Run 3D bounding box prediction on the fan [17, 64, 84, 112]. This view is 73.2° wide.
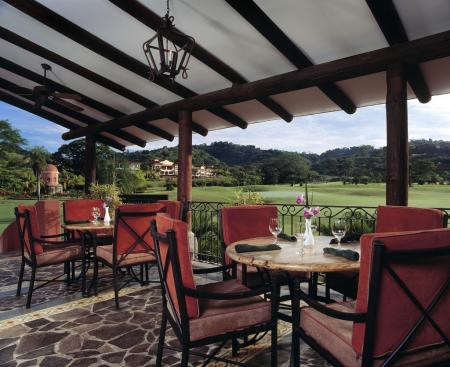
[{"bbox_3d":[-3.554,-1.925,6.118,0.985,1.014,1.961,-4,5,-31],"label":"fan"}]

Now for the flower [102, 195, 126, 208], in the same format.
[{"bbox_3d":[-2.551,0.392,6.904,0.443,0.291,0.381,1,9,6],"label":"flower"}]

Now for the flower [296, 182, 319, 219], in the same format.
[{"bbox_3d":[0.783,0.159,2.854,0.200,0.345,0.618,0,4,13],"label":"flower"}]
